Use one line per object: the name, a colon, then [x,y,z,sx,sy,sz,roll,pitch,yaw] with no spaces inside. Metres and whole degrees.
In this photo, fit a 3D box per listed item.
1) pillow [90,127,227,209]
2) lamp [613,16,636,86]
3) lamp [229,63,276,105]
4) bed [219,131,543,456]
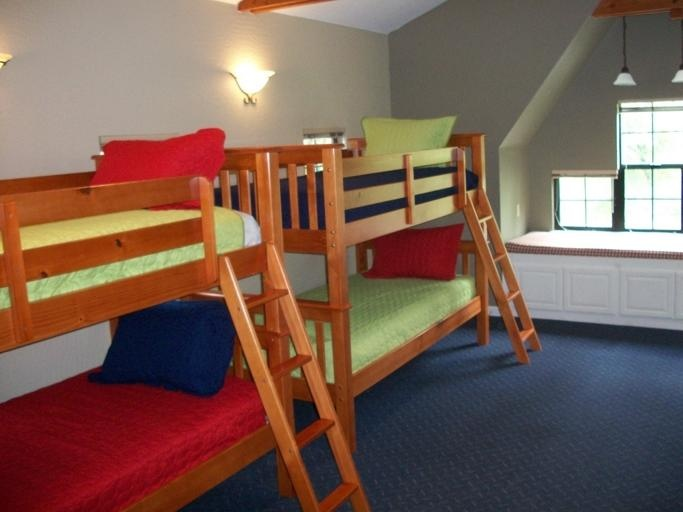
pillow: [-0.886,-0.469,2.739,0.482,0.518,0.146,-2,-6,8]
lamp: [2.660,-1.927,5.092,0.199,0.654,0.605,4,14,27]
lamp: [-0.650,-1.364,4.346,0.266,0.309,0.419,6,15,32]
bed: [0.368,0.122,4.159,1.534,1.944,2.128,4,13,40]
